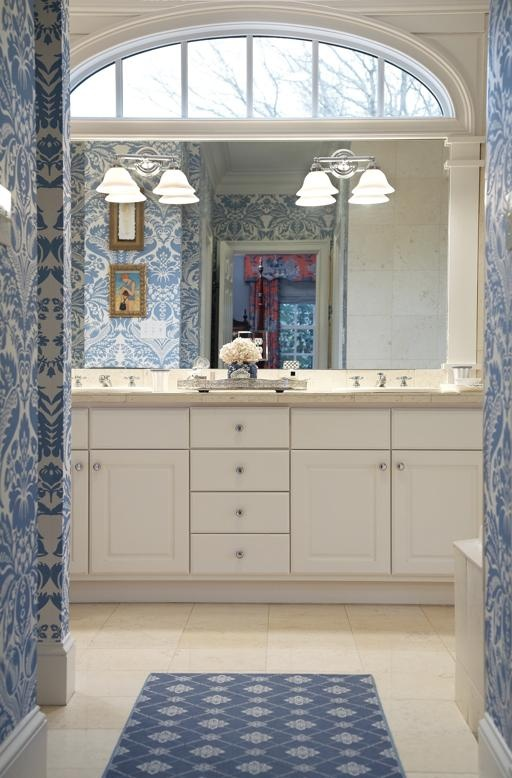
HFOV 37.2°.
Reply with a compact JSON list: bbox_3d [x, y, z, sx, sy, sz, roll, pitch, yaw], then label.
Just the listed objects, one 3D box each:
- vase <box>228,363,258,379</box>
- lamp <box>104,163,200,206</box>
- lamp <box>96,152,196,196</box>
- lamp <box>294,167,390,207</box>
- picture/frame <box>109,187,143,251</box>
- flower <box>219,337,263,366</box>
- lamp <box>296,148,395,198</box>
[{"bbox_3d":[-0.052,-0.077,3.283,0.079,0.078,0.079,1,0,-9],"label":"vase"},{"bbox_3d":[-0.483,-0.907,3.361,0.459,0.161,0.250,0,2,-5],"label":"lamp"},{"bbox_3d":[-0.472,-0.934,3.327,0.417,0.209,0.195,-2,1,-9],"label":"lamp"},{"bbox_3d":[0.391,-0.885,3.348,0.431,0.147,0.195,0,2,5],"label":"lamp"},{"bbox_3d":[-0.585,-0.771,3.485,0.154,0.254,0.082,1,11,4],"label":"picture/frame"},{"bbox_3d":[-0.063,-0.155,3.306,0.141,0.104,0.129,-3,-6,4],"label":"flower"},{"bbox_3d":[0.388,-0.936,3.361,0.425,0.215,0.205,-1,2,3],"label":"lamp"}]
